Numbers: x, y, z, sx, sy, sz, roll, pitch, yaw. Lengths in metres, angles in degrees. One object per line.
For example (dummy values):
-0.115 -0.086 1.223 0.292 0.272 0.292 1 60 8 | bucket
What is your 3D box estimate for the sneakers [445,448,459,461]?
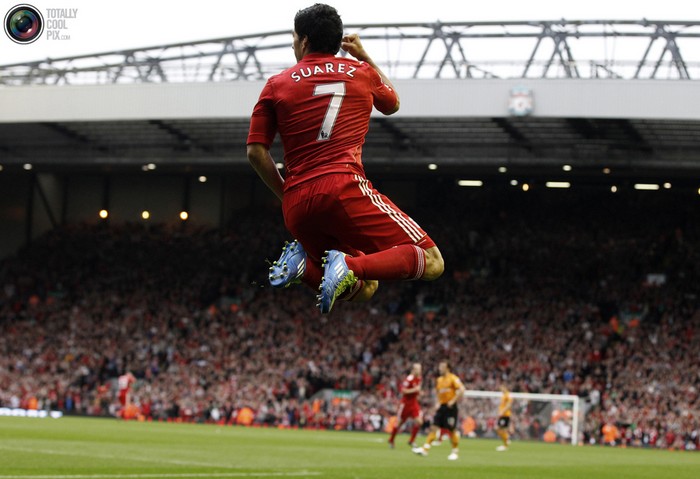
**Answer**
3.078 6.491 37.498 0.236 0.246 0.588 -6 -10 16 | sneakers
